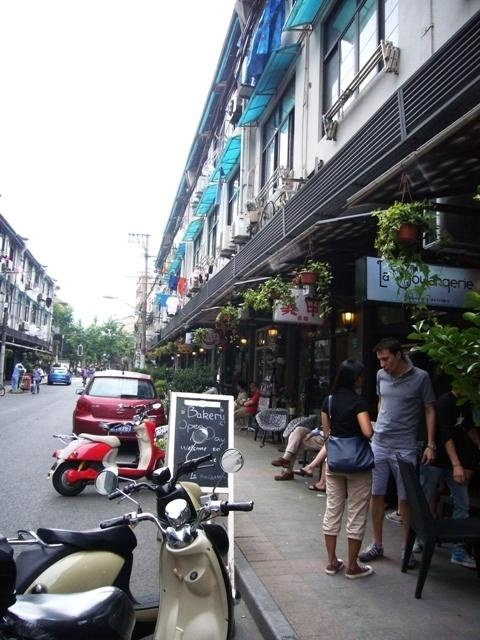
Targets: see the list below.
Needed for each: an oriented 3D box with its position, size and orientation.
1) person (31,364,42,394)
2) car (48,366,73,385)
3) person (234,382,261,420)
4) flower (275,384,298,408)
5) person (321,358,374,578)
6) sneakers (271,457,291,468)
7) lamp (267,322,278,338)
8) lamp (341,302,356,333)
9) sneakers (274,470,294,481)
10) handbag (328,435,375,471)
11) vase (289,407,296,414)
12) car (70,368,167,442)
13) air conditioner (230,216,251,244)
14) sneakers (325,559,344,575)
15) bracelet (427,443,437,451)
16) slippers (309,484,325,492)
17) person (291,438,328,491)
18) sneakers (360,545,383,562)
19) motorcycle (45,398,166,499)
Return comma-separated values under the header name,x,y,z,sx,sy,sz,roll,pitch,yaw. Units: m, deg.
name,x,y,z,sx,sy,sz,roll,pitch,yaw
person,-12.641,3.798,30.959,0.492,1.570,2.405,2,-6,-23
car,-17.094,5.438,47.805,1.268,0.984,2.820,3,-9,-8
person,0.222,2.256,13.861,0.567,0.977,1.096,2,-6,-18
flower,1.207,1.972,12.784,0.591,0.620,0.592,4,-2,-13
person,0.914,1.155,3.952,0.503,1.623,0.517,5,-5,-42
sneakers,0.634,2.234,7.690,0.236,0.172,0.437,-3,-6,23
lamp,0.961,0.350,14.391,0.300,0.368,0.307,2,-1,-3
lamp,2.192,-0.033,10.092,0.164,0.568,0.589,1,-5,-7
sneakers,0.649,2.459,7.830,0.361,0.157,0.123,4,-32,-18
handbag,0.837,1.014,3.761,0.297,0.278,0.148,-1,-4,17
vase,1.277,2.209,12.055,0.133,0.139,0.134,3,-1,-13
car,-2.319,1.526,9.286,1.113,0.948,1.946,2,-4,-9
air conditioner,0.030,-2.591,14.025,0.447,0.701,1.195,0,-6,-3
sneakers,0.737,1.925,3.892,0.067,0.073,0.195,-4,-10,22
bracelet,1.611,1.081,4.168,0.076,0.051,0.074,1,-26,5
slippers,1.105,2.384,7.042,0.197,0.062,0.102,5,-7,-2
person,1.127,2.113,7.409,0.237,0.526,0.991,28,-29,-22
sneakers,1.148,2.008,4.272,0.271,0.117,0.097,15,-49,-44
motorcycle,-1.701,1.793,6.870,1.760,1.117,0.757,6,-10,-35
